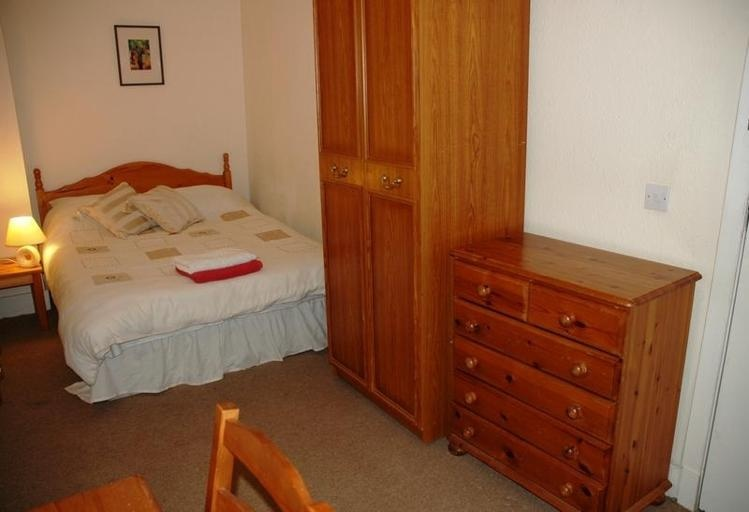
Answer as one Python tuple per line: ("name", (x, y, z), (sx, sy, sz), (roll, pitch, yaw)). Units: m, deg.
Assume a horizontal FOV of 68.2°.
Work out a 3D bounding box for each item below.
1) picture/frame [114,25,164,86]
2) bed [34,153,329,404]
("picture/frame", (-2.311, -1.943, 5.353), (0.492, 0.670, 0.022), (-16, 27, -33))
("bed", (-1.728, -0.049, 4.760), (1.981, 1.126, 2.576), (-14, 26, -29))
